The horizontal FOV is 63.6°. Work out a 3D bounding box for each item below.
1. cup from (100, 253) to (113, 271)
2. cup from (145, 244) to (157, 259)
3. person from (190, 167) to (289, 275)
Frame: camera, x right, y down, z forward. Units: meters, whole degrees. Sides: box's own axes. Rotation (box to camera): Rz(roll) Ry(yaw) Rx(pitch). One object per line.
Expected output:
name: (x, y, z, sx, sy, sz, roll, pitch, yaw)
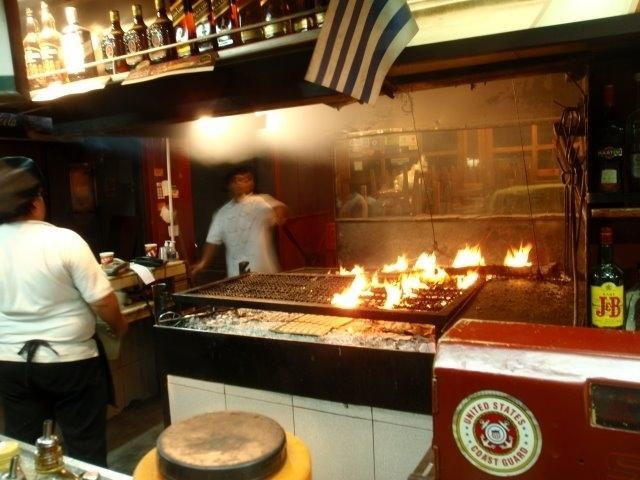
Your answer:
cup: (-2.095, 0.213, 4.956, 0.130, 0.153, 0.139, 1, 2, 0)
cup: (-1.935, 0.127, 5.814, 0.130, 0.159, 0.135, 3, 9, 0)
person: (-0.856, -0.178, 5.630, 0.912, 1.166, 0.435, -3, 8, -6)
